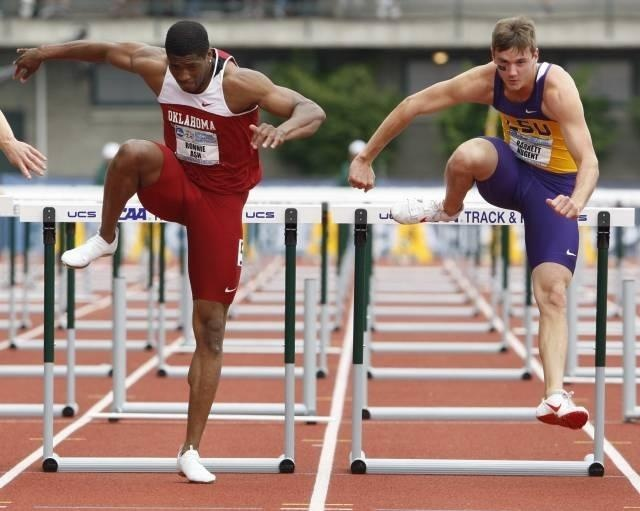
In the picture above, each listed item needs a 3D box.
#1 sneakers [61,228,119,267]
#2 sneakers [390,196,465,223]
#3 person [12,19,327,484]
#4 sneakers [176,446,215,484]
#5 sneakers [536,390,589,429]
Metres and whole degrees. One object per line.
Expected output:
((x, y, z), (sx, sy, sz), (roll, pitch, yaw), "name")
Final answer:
((-1.212, -0.041, 4.967), (0.346, 0.142, 0.123), (-27, 58, -38), "sneakers")
((0.583, -0.238, 5.323), (0.424, 0.170, 0.148), (4, 44, -17), "sneakers")
((-0.703, 0.013, 4.979), (1.415, 2.445, 0.524), (2, 11, 9), "person")
((-0.678, 1.119, 5.096), (0.112, 0.136, 0.304), (-7, 10, -36), "sneakers")
((1.232, 0.783, 4.881), (0.294, 0.155, 0.169), (10, 51, 40), "sneakers")
